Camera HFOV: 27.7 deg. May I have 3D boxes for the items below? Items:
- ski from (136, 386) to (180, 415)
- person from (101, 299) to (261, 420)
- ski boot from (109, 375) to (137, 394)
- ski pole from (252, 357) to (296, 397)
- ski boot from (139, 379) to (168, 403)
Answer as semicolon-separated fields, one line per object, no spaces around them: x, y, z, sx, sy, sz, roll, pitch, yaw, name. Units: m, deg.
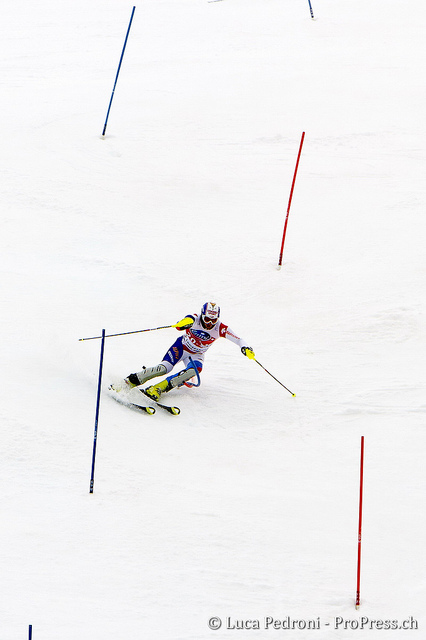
-0.715;1.092;11.690;0.670;0.100;0.126;25;82;22;ski
-0.582;0.650;11.943;1.212;1.346;2.048;24;44;37;person
-1.261;0.880;11.735;0.143;0.171;0.406;42;22;26;ski boot
0.950;0.895;13.229;0.811;0.055;0.089;42;42;0;ski pole
-0.769;0.963;11.956;0.168;0.204;0.479;12;30;43;ski boot
